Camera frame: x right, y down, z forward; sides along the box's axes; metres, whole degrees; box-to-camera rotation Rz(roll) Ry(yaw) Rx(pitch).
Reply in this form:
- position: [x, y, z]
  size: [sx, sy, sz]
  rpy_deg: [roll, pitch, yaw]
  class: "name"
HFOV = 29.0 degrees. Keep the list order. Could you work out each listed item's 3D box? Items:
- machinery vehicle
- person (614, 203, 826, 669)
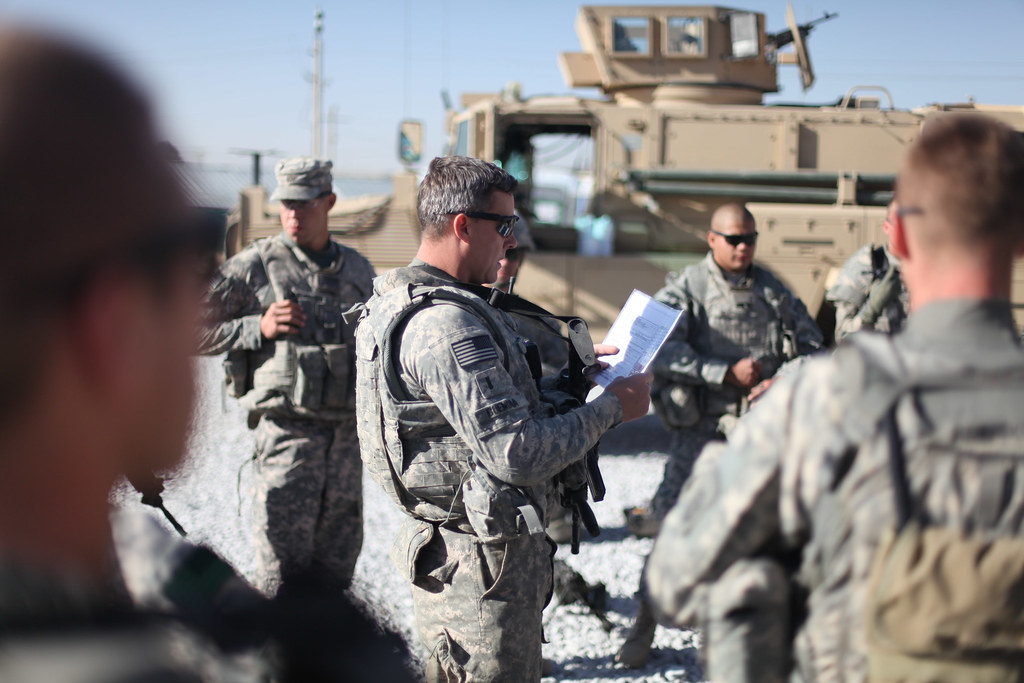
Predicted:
- position: [0.886, -1.071, 10.908]
  size: [3.685, 1.970, 2.129]
  rpy_deg: [-1, 4, -2]
  class: "machinery vehicle"
- position: [0.879, 0.348, 8.027]
  size: [0.771, 1.777, 0.596]
  rpy_deg: [-3, 23, -6]
  class: "person"
